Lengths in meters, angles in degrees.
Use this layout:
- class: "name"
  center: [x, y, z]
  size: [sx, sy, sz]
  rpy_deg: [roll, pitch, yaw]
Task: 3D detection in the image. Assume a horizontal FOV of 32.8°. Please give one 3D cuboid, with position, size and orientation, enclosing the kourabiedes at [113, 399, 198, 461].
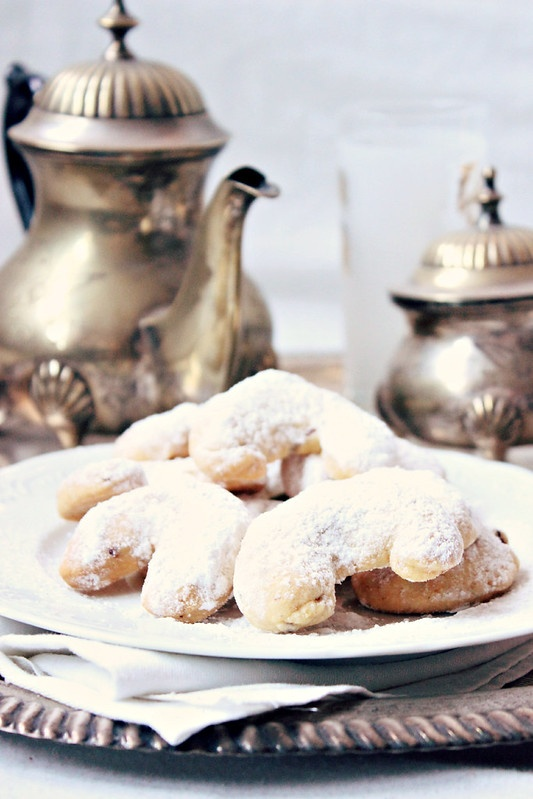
- class: "kourabiedes"
  center: [-0.064, 0.021, 0.545]
  size: [0.042, 0.015, 0.035]
  rpy_deg: [-16, 8, 15]
